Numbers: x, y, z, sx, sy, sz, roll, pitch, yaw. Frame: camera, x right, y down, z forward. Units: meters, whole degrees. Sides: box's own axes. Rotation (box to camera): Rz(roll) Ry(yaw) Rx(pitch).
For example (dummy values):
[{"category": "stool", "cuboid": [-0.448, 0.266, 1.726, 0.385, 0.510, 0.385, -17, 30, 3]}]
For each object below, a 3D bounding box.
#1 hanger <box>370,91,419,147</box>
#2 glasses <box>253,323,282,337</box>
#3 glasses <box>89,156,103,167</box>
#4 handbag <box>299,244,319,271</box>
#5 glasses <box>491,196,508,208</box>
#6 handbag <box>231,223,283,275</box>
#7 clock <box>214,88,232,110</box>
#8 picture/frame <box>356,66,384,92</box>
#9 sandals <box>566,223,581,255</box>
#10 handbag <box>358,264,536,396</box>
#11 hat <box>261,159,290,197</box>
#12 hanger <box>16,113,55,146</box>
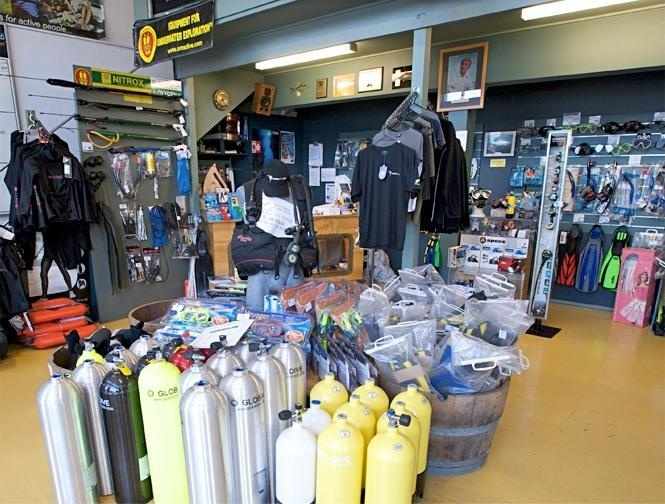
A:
[{"category": "hanger", "cuboid": [0.590, -1.260, 4.444, 0.425, 0.502, 0.209, 8, 15, 37]}, {"category": "glasses", "cuboid": [-0.405, 0.469, 2.896, 0.124, 0.055, 0.090, -1, 3, 26]}, {"category": "glasses", "cuboid": [-2.658, -1.021, 5.270, 0.128, 0.052, 0.094, 8, 16, 16]}, {"category": "handbag", "cuboid": [-0.208, 0.048, 4.069, 0.195, 0.215, 0.157, 2, 4, -5]}, {"category": "glasses", "cuboid": [2.080, -0.638, 5.843, 0.158, 0.103, 0.195, 3, -7, 24]}, {"category": "handbag", "cuboid": [-0.664, -0.016, 4.036, 0.479, 0.463, 0.159, 3, 12, 17]}, {"category": "clock", "cuboid": [-1.628, -2.252, 6.928, 0.090, 0.295, 0.348, 5, 13, 24]}, {"category": "picture/frame", "cuboid": [0.547, -2.480, 6.678, 0.395, 0.342, 0.039, 8, 10, 43]}, {"category": "sandals", "cuboid": [3.304, -0.186, 6.449, 0.153, 0.415, 0.107, 10, 14, 26]}, {"category": "handbag", "cuboid": [0.669, 0.528, 3.071, 0.773, 0.388, 0.838, -11, 24, -5]}, {"category": "hat", "cuboid": [-0.489, -0.665, 3.988, 0.269, 0.205, 0.403, -1, 39, -22]}, {"category": "hanger", "cuboid": [-3.227, -1.362, 5.076, 0.305, 0.362, 0.547, -8, 14, -32]}]
